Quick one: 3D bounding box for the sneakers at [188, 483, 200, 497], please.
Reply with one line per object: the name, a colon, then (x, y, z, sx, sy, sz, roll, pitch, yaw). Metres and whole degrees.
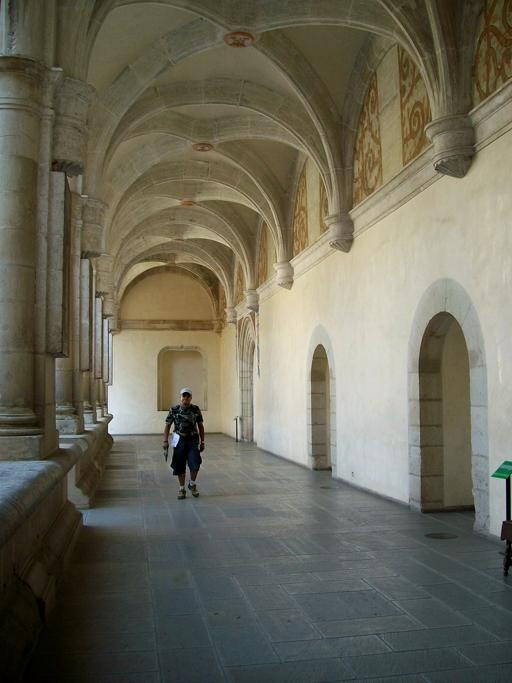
sneakers: (-0.856, 2.070, 7.442, 0.091, 0.151, 0.289, 5, 22, -29)

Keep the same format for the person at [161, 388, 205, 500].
person: (-1.047, 1.461, 7.844, 0.580, 1.493, 1.743, 2, -9, -9)

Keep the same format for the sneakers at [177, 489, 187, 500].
sneakers: (-0.986, 2.053, 7.141, 0.066, 0.097, 0.199, 0, -11, -2)
